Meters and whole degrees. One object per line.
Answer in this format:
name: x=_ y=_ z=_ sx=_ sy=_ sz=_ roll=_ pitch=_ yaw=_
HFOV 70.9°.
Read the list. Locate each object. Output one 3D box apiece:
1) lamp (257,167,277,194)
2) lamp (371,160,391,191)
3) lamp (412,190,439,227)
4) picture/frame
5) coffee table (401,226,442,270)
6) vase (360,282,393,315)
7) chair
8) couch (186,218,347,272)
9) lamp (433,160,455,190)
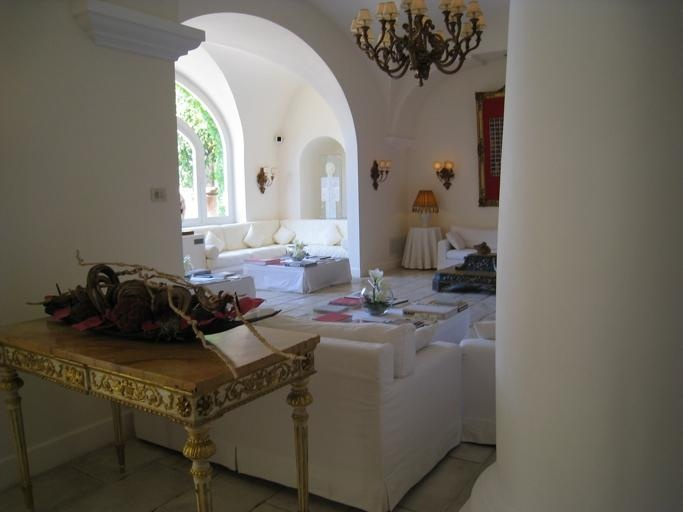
lamp: x=-1.655 y=-1.667 z=10.507 sx=0.171 sy=0.552 sz=0.612 roll=0 pitch=6 yaw=20
lamp: x=0.741 y=-1.541 z=9.054 sx=0.161 sy=0.584 sz=0.772 roll=0 pitch=6 yaw=25
lamp: x=1.680 y=-0.982 z=9.914 sx=0.609 sy=0.812 sz=0.661 roll=-1 pitch=4 yaw=-3
picture/frame: x=2.842 y=-2.076 z=9.225 sx=0.499 sy=2.229 sz=0.311 roll=-1 pitch=5 yaw=19
coffee table: x=1.592 y=-0.180 z=9.546 sx=0.735 sy=0.826 sz=0.739 roll=2 pitch=1 yaw=6
vase: x=0.322 y=0.371 z=4.423 sx=0.246 sy=0.330 sz=0.269 roll=0 pitch=-1 yaw=16
chair: x=0.817 y=0.808 z=2.875 sx=0.190 sy=0.585 sz=0.130 roll=0 pitch=6 yaw=25
couch: x=-1.310 y=-0.349 z=9.633 sx=1.296 sy=0.651 sz=1.840 roll=1 pitch=7 yaw=27
lamp: x=2.096 y=-1.641 z=9.722 sx=0.406 sy=0.558 sz=0.165 roll=-1 pitch=5 yaw=13
